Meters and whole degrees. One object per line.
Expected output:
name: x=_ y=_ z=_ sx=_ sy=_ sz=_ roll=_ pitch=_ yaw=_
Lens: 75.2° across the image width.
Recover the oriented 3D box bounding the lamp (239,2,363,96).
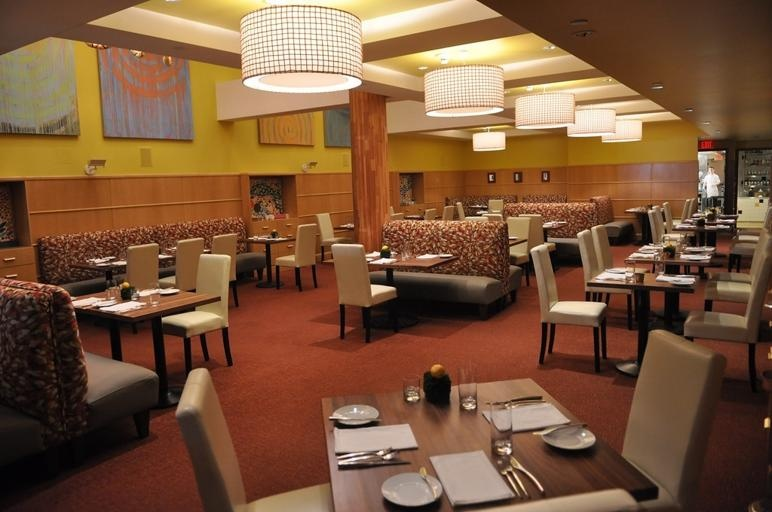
lamp: x=-0.727 y=-1.767 z=4.338 sx=0.942 sy=0.432 sz=0.954 roll=1 pitch=2 yaw=19

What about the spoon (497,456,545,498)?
spoon: x=0.664 y=1.086 z=2.507 sx=0.084 sy=0.028 sz=0.227 roll=-14 pitch=21 yaw=-14

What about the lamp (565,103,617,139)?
lamp: x=3.909 y=-2.532 z=9.865 sx=0.986 sy=0.523 sz=0.981 roll=0 pitch=9 yaw=-1

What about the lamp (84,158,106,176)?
lamp: x=-4.945 y=-1.512 z=8.572 sx=0.334 sy=0.276 sz=0.506 roll=-10 pitch=15 yaw=-29

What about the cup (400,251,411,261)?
cup: x=0.280 y=-0.006 z=7.115 sx=0.127 sy=0.129 sz=0.129 roll=-1 pitch=0 yaw=0

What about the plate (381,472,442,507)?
plate: x=0.129 y=1.133 z=2.445 sx=0.292 sy=0.078 sz=0.179 roll=-1 pitch=13 yaw=6

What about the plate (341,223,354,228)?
plate: x=-0.923 y=-0.741 z=12.122 sx=0.310 sy=0.113 sz=0.310 roll=-1 pitch=3 yaw=-1

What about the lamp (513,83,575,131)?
lamp: x=2.509 y=-2.553 z=8.104 sx=1.022 sy=0.507 sz=0.566 roll=-1 pitch=7 yaw=-7

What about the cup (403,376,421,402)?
cup: x=0.166 y=0.828 z=3.185 sx=0.121 sy=0.153 sz=0.163 roll=-2 pitch=13 yaw=2

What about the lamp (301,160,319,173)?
lamp: x=-1.778 y=-2.168 z=12.254 sx=0.320 sy=0.345 sz=0.504 roll=7 pitch=2 yaw=-20

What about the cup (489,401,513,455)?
cup: x=0.624 y=0.921 z=2.694 sx=0.114 sy=0.235 sz=0.166 roll=1 pitch=14 yaw=12

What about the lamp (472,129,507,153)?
lamp: x=2.854 y=-3.146 z=13.853 sx=0.900 sy=0.473 sz=0.917 roll=1 pitch=6 yaw=20

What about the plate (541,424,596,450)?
plate: x=1.003 y=0.989 z=2.731 sx=0.276 sy=0.069 sz=0.172 roll=-6 pitch=13 yaw=-18

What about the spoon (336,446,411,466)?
spoon: x=-0.051 y=1.061 z=2.684 sx=0.414 sy=0.061 sz=0.108 roll=-4 pitch=19 yaw=-3

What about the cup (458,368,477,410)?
cup: x=0.506 y=0.788 z=3.083 sx=0.122 sy=0.247 sz=0.211 roll=0 pitch=13 yaw=9

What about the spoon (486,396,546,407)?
spoon: x=0.787 y=0.873 z=3.024 sx=0.343 sy=0.050 sz=0.041 roll=-7 pitch=-29 yaw=5
